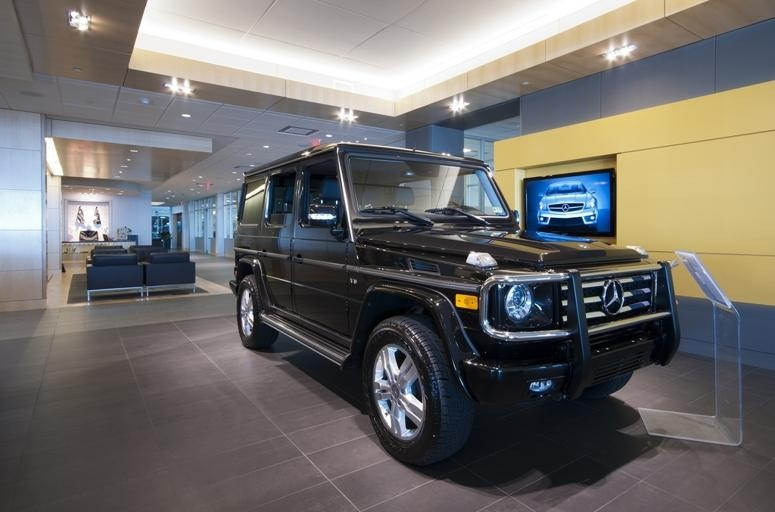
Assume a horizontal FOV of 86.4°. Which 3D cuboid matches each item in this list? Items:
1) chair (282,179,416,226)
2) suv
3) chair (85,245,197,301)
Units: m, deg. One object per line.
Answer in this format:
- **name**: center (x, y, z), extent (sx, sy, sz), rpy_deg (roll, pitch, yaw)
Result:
- **chair**: center (-0.413, -0.585, 4.314), extent (1.146, 0.578, 0.458), rpy_deg (-2, 30, 12)
- **suv**: center (0.107, 0.113, 5.242), extent (2.588, 2.269, 5.098), rpy_deg (-1, 2, -32)
- **chair**: center (-6.845, 0.389, 11.556), extent (2.326, 1.060, 3.400), rpy_deg (-3, 6, -32)
